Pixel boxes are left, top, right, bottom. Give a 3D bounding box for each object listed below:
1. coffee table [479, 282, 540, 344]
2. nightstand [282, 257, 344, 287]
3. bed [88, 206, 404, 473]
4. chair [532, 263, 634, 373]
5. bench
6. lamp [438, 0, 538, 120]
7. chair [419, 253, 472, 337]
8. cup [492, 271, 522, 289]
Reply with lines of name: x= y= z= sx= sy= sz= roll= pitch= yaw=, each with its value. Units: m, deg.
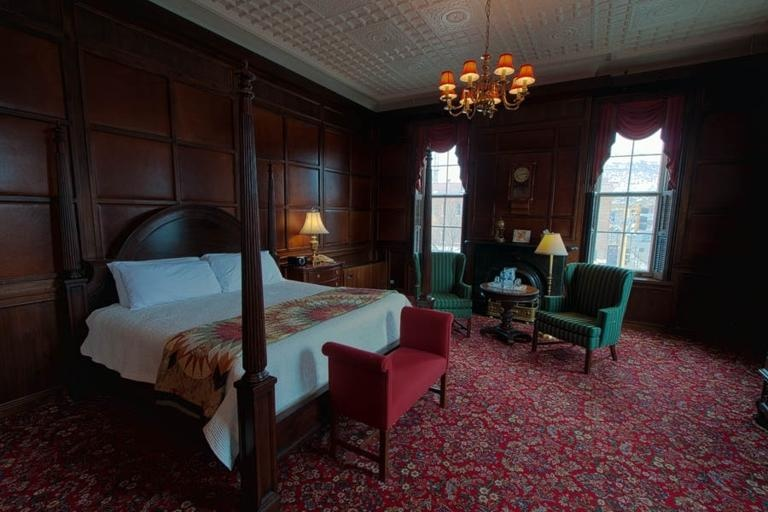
coffee table: x=1.798 y=0.821 z=6.741 sx=0.830 sy=0.754 sz=0.833 roll=12 pitch=13 yaw=42
nightstand: x=-1.097 y=0.111 z=7.143 sx=0.435 sy=0.617 sz=0.667 roll=3 pitch=7 yaw=24
bed: x=-1.628 y=0.672 z=5.050 sx=2.881 sy=1.785 sz=2.896 roll=8 pitch=17 yaw=23
chair: x=2.558 y=0.759 z=6.049 sx=0.812 sy=1.242 sz=0.858 roll=-5 pitch=11 yaw=-33
bench: x=0.107 y=1.364 z=5.016 sx=0.741 sy=1.231 sz=1.690 roll=7 pitch=13 yaw=30
lamp: x=1.379 y=-2.642 z=6.100 sx=1.055 sy=1.560 sz=0.855 roll=-8 pitch=16 yaw=-28
chair: x=0.858 y=0.539 z=6.921 sx=0.763 sy=1.175 sz=0.857 roll=0 pitch=4 yaw=-3
cup: x=1.777 y=0.348 z=6.689 sx=0.305 sy=0.290 sz=0.307 roll=1 pitch=-2 yaw=0
